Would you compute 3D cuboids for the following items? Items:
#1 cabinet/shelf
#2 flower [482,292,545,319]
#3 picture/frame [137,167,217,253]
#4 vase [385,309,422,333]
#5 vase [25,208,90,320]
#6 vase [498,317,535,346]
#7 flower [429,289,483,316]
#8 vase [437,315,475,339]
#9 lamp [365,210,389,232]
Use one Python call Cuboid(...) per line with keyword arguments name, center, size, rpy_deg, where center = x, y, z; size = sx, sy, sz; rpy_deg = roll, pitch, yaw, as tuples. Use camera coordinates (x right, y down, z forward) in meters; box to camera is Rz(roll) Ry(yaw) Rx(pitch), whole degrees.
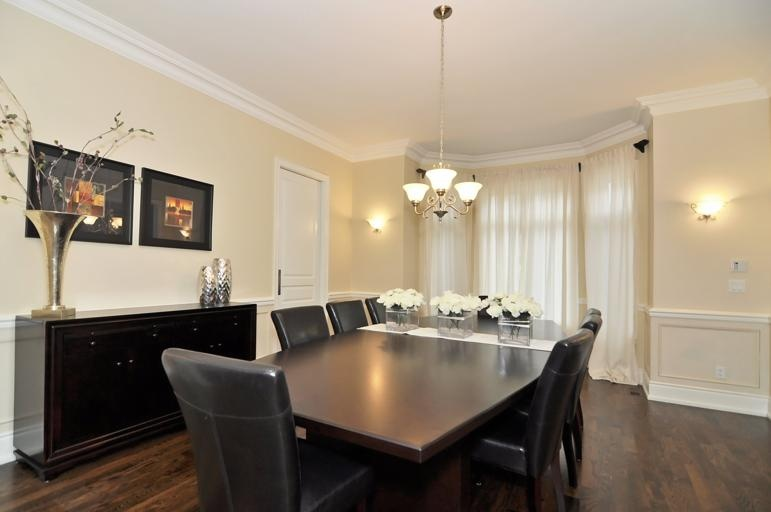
Cuboid(name="cabinet/shelf", center=(-2.116, 1.139, 3.994), size=(0.448, 0.921, 1.426), rpy_deg=(-5, -6, 40))
Cuboid(name="flower", center=(1.170, 0.452, 4.383), size=(0.326, 0.163, 0.301), rpy_deg=(6, -4, -40))
Cuboid(name="picture/frame", center=(-2.124, -0.461, 5.116), size=(0.829, 0.868, 0.149), rpy_deg=(-12, 19, -43))
Cuboid(name="vase", center=(0.171, 0.626, 4.836), size=(0.231, 0.169, 0.236), rpy_deg=(-2, -4, 32))
Cuboid(name="vase", center=(-2.763, 0.065, 4.226), size=(0.414, 0.897, 0.331), rpy_deg=(-2, 14, -9))
Cuboid(name="vase", center=(1.108, 0.650, 4.314), size=(0.236, 0.211, 0.243), rpy_deg=(-1, -4, 20))
Cuboid(name="flower", center=(0.664, 0.461, 4.598), size=(0.465, 0.217, 0.187), rpy_deg=(2, 14, 6))
Cuboid(name="vase", center=(0.639, 0.649, 4.599), size=(0.229, 0.145, 0.233), rpy_deg=(-4, -7, 32))
Cuboid(name="lamp", center=(-0.119, -0.493, 7.153), size=(0.298, 0.219, 0.284), rpy_deg=(2, 1, 31))
